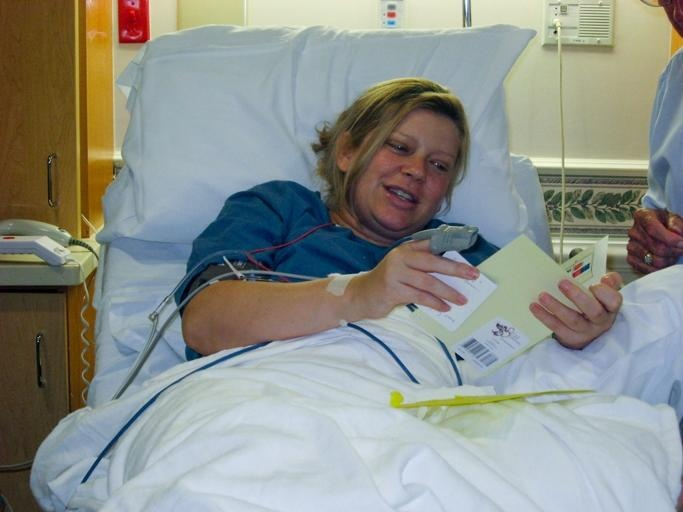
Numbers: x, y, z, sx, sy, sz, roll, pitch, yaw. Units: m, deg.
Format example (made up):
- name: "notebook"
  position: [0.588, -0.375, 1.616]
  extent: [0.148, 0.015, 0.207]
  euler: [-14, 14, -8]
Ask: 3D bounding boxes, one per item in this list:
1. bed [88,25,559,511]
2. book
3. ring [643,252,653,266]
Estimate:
- name: "bed"
  position: [-0.277, -0.058, 2.514]
  extent: [1.242, 1.371, 0.772]
  euler: [0, -4, -5]
- name: "book"
  position: [0.381, 0.130, 1.546]
  extent: [0.405, 0.381, 0.154]
  euler: [4, 9, 7]
- name: "ring"
  position: [1.075, 0.010, 2.175]
  extent: [0.022, 0.027, 0.030]
  euler: [0, 17, 9]
